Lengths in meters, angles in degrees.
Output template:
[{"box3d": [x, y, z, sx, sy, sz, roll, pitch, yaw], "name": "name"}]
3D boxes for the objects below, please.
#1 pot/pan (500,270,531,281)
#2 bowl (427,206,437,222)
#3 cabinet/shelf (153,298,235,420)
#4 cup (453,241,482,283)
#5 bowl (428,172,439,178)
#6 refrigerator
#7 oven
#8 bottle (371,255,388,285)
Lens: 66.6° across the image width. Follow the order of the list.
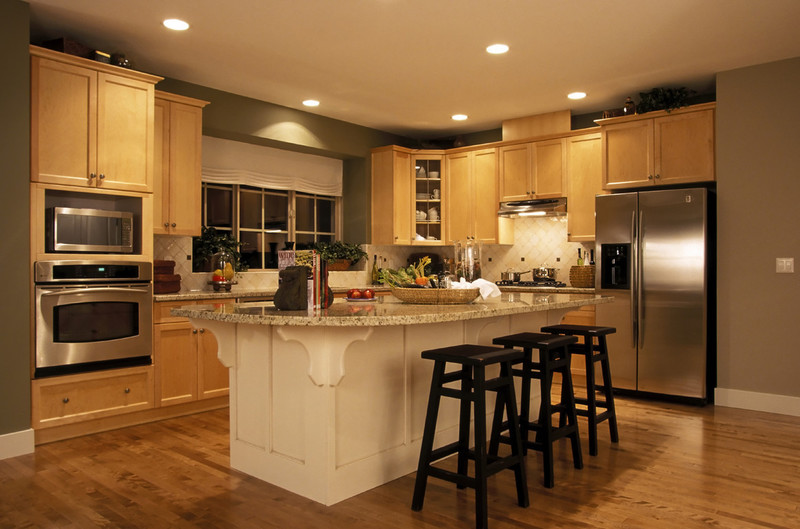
[{"box3d": [1.539, 0.158, 8.154, 0.283, 0.106, 0.171, 0, -2, 21], "name": "pot/pan"}, {"box3d": [0.454, -0.693, 8.550, 0.201, 0.204, 0.144, -2, -4, 22], "name": "bowl"}, {"box3d": [-1.963, 0.878, 5.690, 0.494, 1.048, 1.183, -4, -6, 34], "name": "cabinet/shelf"}, {"box3d": [0.596, -0.034, 5.107, 0.171, 0.307, 0.372, 6, 11, 34], "name": "cup"}, {"box3d": [0.458, -1.245, 8.521, 0.098, 0.056, 0.095, 0, 0, 0], "name": "bowl"}, {"box3d": [2.683, 0.317, 6.572, 1.195, 2.251, 0.479, 4, 11, 25], "name": "refrigerator"}, {"box3d": [-2.900, 0.496, 5.812, 1.042, 1.021, 0.846, 1, -10, -37], "name": "oven"}, {"box3d": [-0.290, 0.064, 8.472, 0.220, 0.393, 0.331, -1, 9, -2], "name": "bottle"}]
